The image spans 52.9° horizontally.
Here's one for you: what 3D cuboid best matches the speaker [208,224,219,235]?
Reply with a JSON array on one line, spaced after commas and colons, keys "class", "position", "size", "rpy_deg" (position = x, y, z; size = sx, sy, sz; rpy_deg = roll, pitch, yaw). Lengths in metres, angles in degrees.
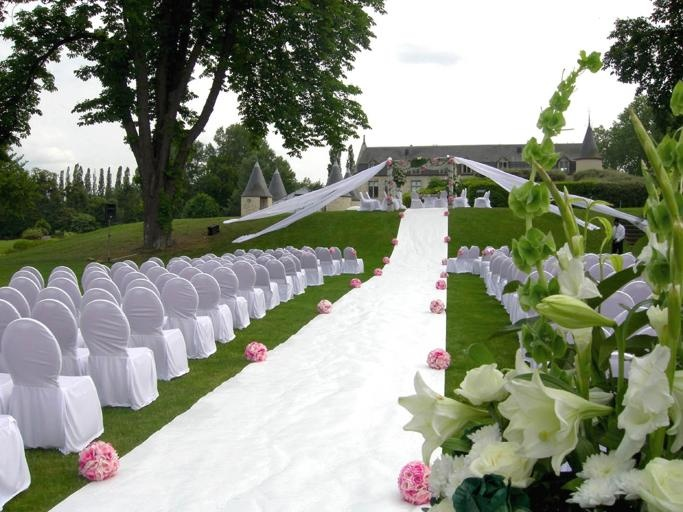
[{"class": "speaker", "position": [-5.288, -1.088, 28.041], "size": [0.399, 0.394, 0.855], "rpy_deg": [-4, 7, 2]}]
